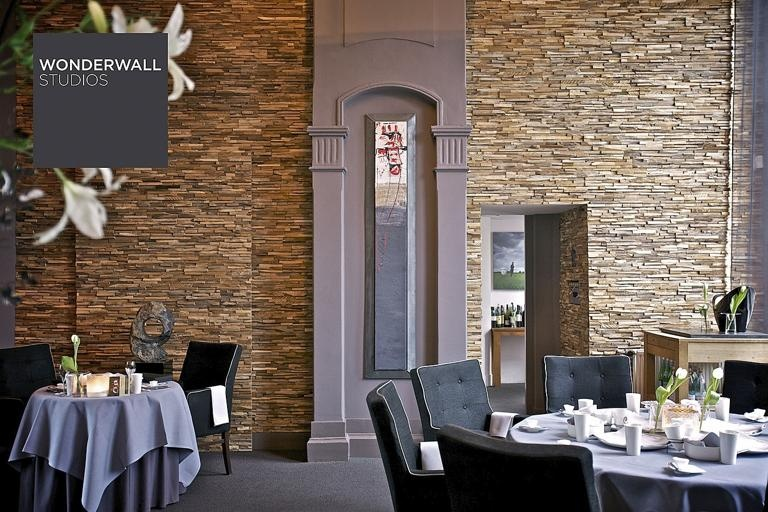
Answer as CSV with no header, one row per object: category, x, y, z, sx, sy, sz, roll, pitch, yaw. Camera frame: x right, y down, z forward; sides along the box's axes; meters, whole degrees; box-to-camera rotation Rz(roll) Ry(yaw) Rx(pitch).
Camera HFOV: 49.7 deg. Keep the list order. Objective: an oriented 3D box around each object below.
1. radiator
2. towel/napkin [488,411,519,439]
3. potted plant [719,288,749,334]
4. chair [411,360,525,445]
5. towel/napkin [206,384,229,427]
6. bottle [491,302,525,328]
radiator,3.248,1.267,8.612,1.048,0.634,0.631,-4,-7,26
towel/napkin,1.022,1.431,7.021,0.190,0.211,0.234,-1,-4,28
potted plant,3.388,0.513,7.911,0.259,0.438,0.176,0,-3,6
chair,0.592,1.294,7.367,0.722,0.972,0.757,-4,-5,-29
towel/napkin,-1.579,1.432,7.933,0.215,0.327,0.083,-3,-3,-36
bottle,1.721,0.814,11.479,0.447,0.340,0.255,0,-3,1
